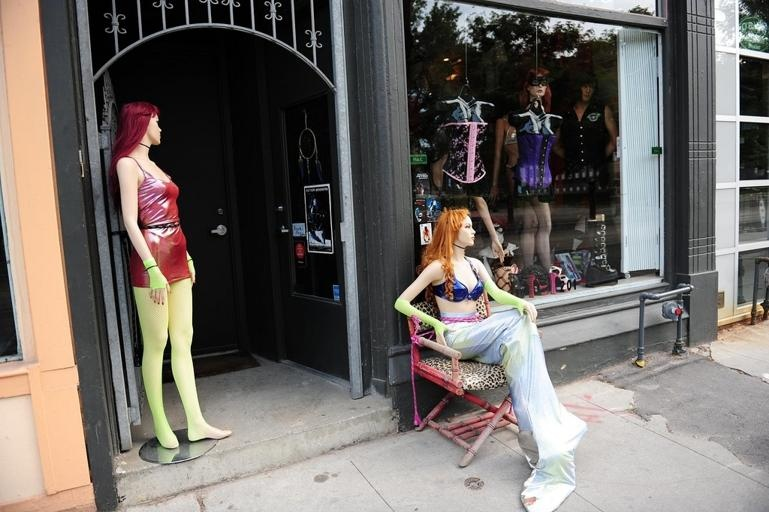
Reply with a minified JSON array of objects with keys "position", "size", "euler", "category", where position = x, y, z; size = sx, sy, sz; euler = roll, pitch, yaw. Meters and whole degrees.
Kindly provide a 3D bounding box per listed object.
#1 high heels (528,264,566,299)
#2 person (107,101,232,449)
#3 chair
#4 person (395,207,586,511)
[{"position":[1.603,0.246,5.617],"size":[0.182,0.239,0.563],"euler":[5,12,43],"category":"high heels"},{"position":[-1.611,0.144,4.163],"size":[0.503,2.484,0.507],"euler":[-11,10,-26],"category":"person"},{"position":[0.682,0.936,4.589],"size":[0.783,1.083,0.731],"euler":[-6,7,-27],"category":"chair"},{"position":[0.819,0.655,4.307],"size":[0.756,1.977,1.202],"euler":[-15,12,-40],"category":"person"}]
